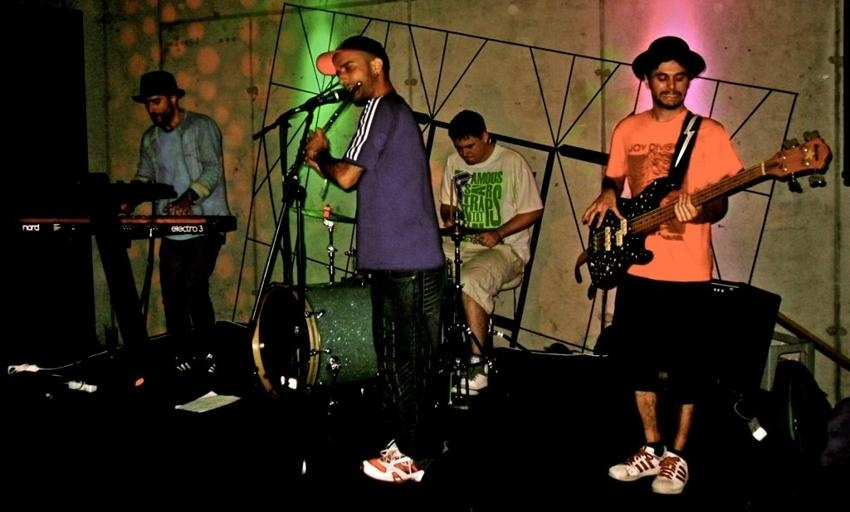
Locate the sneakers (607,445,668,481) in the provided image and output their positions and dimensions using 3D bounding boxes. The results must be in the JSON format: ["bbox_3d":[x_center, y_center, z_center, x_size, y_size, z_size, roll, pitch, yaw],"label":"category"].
[{"bbox_3d":[1.661,1.586,6.805,0.521,0.238,0.186,-4,25,-16],"label":"sneakers"}]

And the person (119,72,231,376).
[{"bbox_3d":[-2.244,-0.359,8.212,0.794,2.747,1.246,0,6,-25],"label":"person"}]

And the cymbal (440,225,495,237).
[{"bbox_3d":[0.381,-0.211,7.771,0.184,0.068,0.188,0,-1,-21],"label":"cymbal"}]

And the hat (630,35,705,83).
[{"bbox_3d":[1.914,-1.537,6.932,0.442,0.424,0.412,-5,4,-44],"label":"hat"}]

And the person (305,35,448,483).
[{"bbox_3d":[-0.307,-0.096,6.817,0.950,3.578,1.317,-2,4,-38],"label":"person"}]
